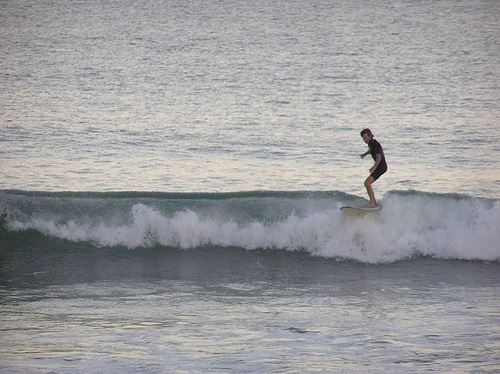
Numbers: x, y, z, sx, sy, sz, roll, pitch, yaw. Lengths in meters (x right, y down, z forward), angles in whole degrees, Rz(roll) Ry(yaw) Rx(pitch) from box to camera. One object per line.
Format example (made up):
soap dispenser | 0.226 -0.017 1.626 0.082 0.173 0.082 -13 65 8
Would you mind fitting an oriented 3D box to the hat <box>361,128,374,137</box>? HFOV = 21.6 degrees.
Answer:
hat | 6.257 -2.884 68.839 0.441 0.406 0.540 3 3 24
